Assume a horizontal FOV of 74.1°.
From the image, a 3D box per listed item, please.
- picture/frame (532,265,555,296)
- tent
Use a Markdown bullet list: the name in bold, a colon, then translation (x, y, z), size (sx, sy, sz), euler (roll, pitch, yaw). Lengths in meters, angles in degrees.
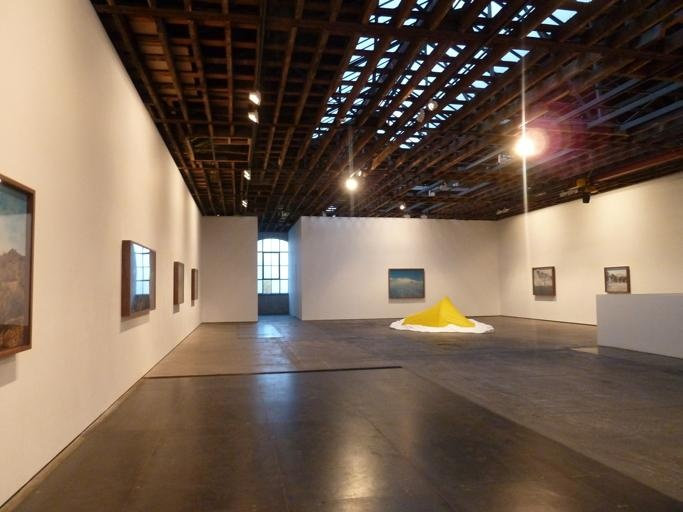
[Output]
- **picture/frame**: translation (7.184, 0.879, 15.950), size (0.059, 0.831, 0.866), euler (6, -28, -22)
- **tent**: translation (2.830, 1.661, 12.810), size (2.668, 0.889, 1.421), euler (-1, -2, 18)
